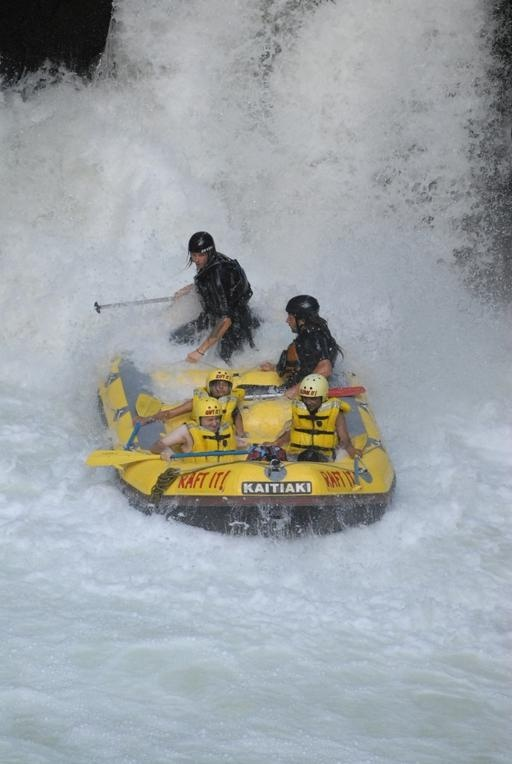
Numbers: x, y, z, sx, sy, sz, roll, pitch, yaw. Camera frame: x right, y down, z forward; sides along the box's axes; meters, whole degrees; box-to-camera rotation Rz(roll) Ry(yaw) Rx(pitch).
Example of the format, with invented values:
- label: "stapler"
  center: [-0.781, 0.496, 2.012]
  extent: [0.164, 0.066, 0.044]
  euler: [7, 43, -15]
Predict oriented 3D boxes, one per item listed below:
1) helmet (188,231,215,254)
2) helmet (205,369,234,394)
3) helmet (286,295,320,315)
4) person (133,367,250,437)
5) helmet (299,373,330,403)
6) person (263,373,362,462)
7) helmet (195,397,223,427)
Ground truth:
- label: "helmet"
  center: [-0.524, -1.237, 7.791]
  extent: [0.214, 0.195, 0.227]
  euler: [11, 25, 30]
- label: "helmet"
  center: [-0.267, 0.006, 6.295]
  extent: [0.165, 0.155, 0.197]
  euler: [2, 2, -6]
- label: "helmet"
  center: [0.388, -0.645, 7.370]
  extent: [0.234, 0.151, 0.180]
  euler: [9, 5, 18]
- label: "person"
  center: [-0.311, 0.141, 6.238]
  extent: [1.034, 0.378, 0.361]
  euler: [2, 7, -36]
- label: "helmet"
  center: [0.420, 0.039, 6.087]
  extent: [0.173, 0.162, 0.211]
  euler: [2, 27, 17]
- label: "person"
  center: [0.428, 0.338, 6.048]
  extent: [0.716, 0.673, 0.635]
  euler: [1, 18, 15]
- label: "helmet"
  center: [-0.329, 0.197, 6.002]
  extent: [0.177, 0.186, 0.219]
  euler: [1, 14, -27]
